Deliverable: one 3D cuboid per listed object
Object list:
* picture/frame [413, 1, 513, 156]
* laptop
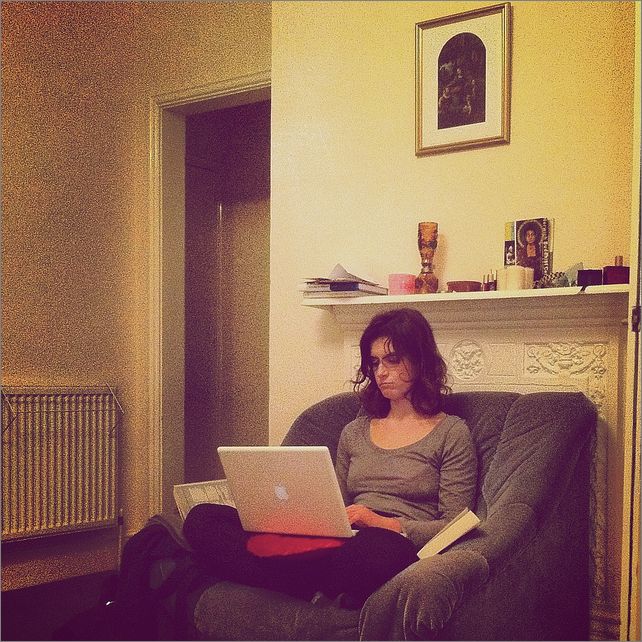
[{"bbox_3d":[0.535,-0.885,2.410,0.487,0.717,0.025,-5,-8,38],"label":"picture/frame"},{"bbox_3d":[-0.073,0.395,1.555,0.285,0.243,0.223,-5,15,34],"label":"laptop"}]
